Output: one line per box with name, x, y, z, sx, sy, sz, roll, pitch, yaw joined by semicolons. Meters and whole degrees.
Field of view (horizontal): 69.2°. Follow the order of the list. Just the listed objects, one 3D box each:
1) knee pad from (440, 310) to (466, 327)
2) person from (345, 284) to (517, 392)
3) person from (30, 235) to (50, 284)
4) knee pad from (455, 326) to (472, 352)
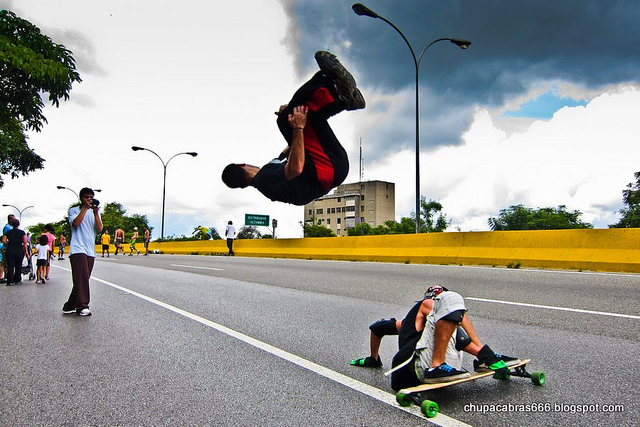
knee pad;1.523;1.171;5.254;0.239;0.234;0.171;1;-6;13
person;1.205;1.543;5.917;1.355;1.151;1.944;18;-25;-39
person;-8.636;1.381;14.416;0.402;1.408;1.911;-4;6;-31
knee pad;1.676;1.462;5.434;0.206;0.258;0.113;-6;8;-44
